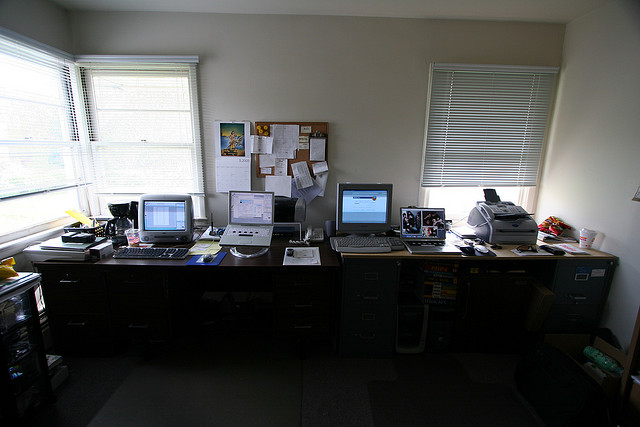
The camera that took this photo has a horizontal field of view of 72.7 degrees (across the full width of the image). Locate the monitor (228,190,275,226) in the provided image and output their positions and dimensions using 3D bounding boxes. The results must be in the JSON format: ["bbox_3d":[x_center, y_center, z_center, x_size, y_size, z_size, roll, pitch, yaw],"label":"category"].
[{"bbox_3d":[-0.704,-0.044,4.467,0.459,0.350,0.160,5,12,0],"label":"monitor"}]

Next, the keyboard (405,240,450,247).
[{"bbox_3d":[1.096,0.303,4.426,0.420,0.031,0.144,-2,12,-12],"label":"keyboard"}]

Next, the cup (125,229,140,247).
[{"bbox_3d":[-1.907,0.256,4.460,0.172,0.158,0.168,-1,0,0],"label":"cup"}]

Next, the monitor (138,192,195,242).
[{"bbox_3d":[-1.586,0.050,4.486,0.535,0.485,0.135,0,13,-3],"label":"monitor"}]

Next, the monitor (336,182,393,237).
[{"bbox_3d":[0.462,-0.053,4.528,0.552,0.502,0.152,-2,13,-13],"label":"monitor"}]

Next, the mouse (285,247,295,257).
[{"bbox_3d":[-0.289,0.381,4.244,0.074,0.055,0.084,3,4,12],"label":"mouse"}]

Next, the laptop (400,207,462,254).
[{"bbox_3d":[1.080,0.165,4.480,0.502,0.326,0.489,0,14,-4],"label":"laptop"}]

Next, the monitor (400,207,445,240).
[{"bbox_3d":[1.066,0.107,4.537,0.583,0.345,0.315,1,1,2],"label":"monitor"}]

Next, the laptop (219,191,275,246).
[{"bbox_3d":[-0.730,0.053,4.345,0.520,0.399,0.394,3,28,5],"label":"laptop"}]
